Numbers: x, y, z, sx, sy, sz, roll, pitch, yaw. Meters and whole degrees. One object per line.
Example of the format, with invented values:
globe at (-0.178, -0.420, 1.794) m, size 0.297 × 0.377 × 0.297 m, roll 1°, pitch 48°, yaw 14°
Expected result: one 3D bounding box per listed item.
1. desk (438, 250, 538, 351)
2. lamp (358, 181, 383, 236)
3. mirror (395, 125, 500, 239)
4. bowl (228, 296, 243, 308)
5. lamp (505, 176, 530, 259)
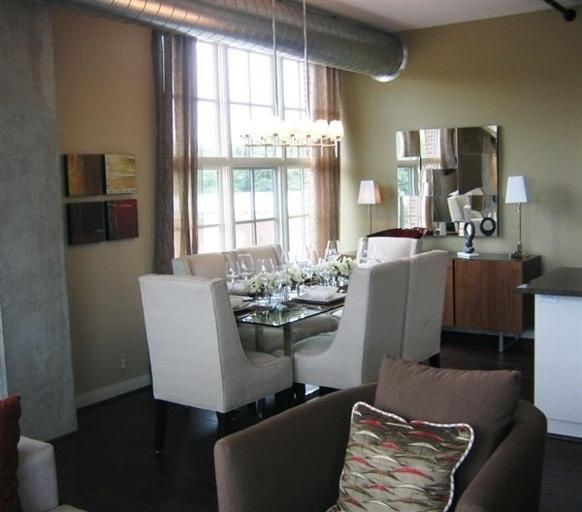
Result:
desk at (2.279, 0.641, 6.146) m, size 0.628 × 1.104 × 1.202 m, roll -25°, pitch -19°, yaw 38°
lamp at (1.044, -0.674, 6.754) m, size 0.312 × 0.753 × 0.452 m, roll 0°, pitch 6°, yaw 17°
mirror at (1.966, -0.904, 6.290) m, size 1.261 × 1.391 × 0.016 m, roll 5°, pitch 26°, yaw 32°
bowl at (-0.388, 0.312, 3.527) m, size 0.075 × 0.042 × 0.098 m, roll -2°, pitch 1°, yaw -12°
lamp at (2.538, -0.458, 5.628) m, size 0.220 × 0.930 × 0.603 m, roll 1°, pitch 7°, yaw 24°
